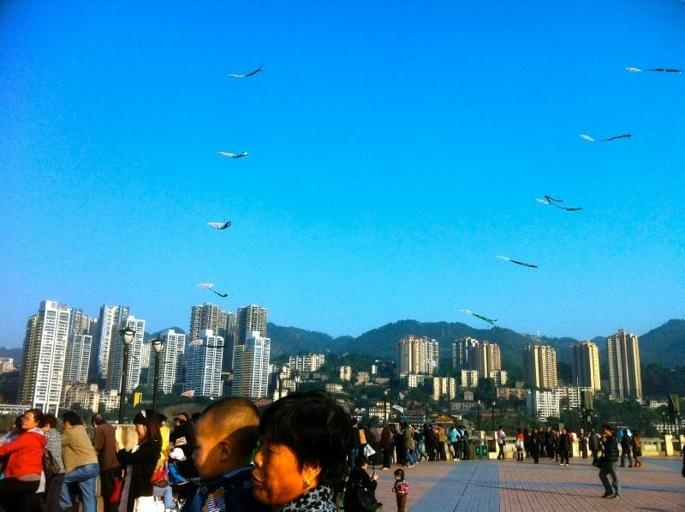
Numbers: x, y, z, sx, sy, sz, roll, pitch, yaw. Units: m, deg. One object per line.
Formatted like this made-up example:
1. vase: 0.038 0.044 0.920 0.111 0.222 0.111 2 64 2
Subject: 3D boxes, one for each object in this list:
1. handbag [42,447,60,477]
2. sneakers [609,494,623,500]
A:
1. handbag: -4.292 2.997 8.249 0.093 0.398 0.291 -16 -22 37
2. sneakers: 6.311 5.486 12.949 0.362 0.144 0.116 -1 -33 16
